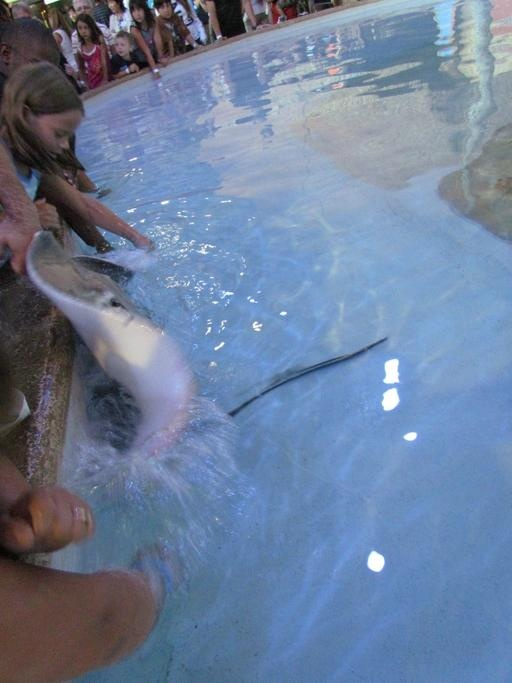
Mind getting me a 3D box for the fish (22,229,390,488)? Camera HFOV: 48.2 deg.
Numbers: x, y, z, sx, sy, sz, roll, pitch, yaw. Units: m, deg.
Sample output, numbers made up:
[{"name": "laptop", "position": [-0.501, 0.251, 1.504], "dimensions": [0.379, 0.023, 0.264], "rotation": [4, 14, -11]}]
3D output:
[{"name": "fish", "position": [-0.052, 0.039, 1.572], "dimensions": [0.958, 0.209, 0.507], "rotation": [-9, 45, -7]}]
